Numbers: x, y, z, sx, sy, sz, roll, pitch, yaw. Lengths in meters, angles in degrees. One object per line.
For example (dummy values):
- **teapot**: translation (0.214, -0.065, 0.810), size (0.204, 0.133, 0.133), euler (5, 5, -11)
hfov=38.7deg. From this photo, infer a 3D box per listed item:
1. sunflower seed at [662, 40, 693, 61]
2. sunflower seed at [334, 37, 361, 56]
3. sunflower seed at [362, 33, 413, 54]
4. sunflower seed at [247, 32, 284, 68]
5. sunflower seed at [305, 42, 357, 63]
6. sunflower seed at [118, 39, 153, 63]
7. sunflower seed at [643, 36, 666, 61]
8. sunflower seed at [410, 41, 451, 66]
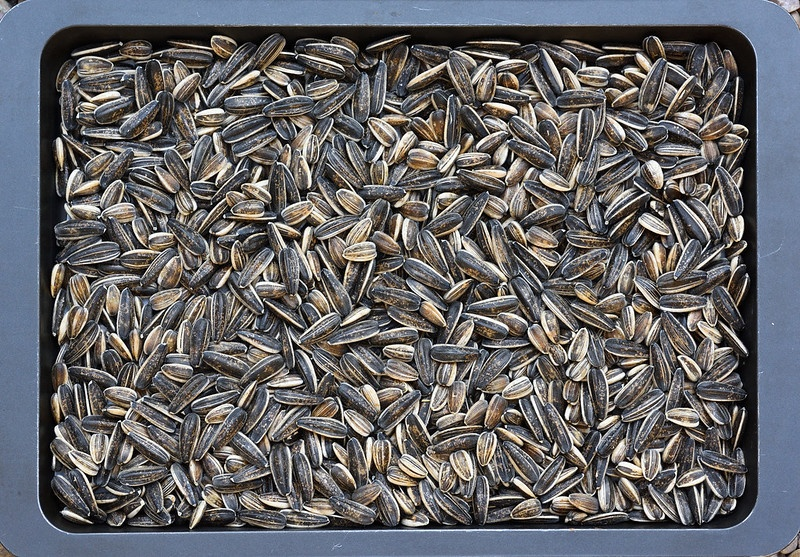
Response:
- **sunflower seed**: translation (0.391, -0.319, 1.593), size (0.042, 0.012, 0.024), euler (6, 91, -5)
- **sunflower seed**: translation (-0.071, -0.322, 1.586), size (0.031, 0.008, 0.022), euler (31, 74, -19)
- **sunflower seed**: translation (-0.017, -0.329, 1.610), size (0.084, 0.025, 0.023), euler (-13, 117, -2)
- **sunflower seed**: translation (-0.184, -0.315, 1.583), size (0.030, 0.015, 0.059), euler (40, 95, -6)
- **sunflower seed**: translation (-0.094, -0.314, 1.582), size (0.083, 0.023, 0.025), euler (9, 93, 0)
- **sunflower seed**: translation (-0.366, -0.316, 1.587), size (0.036, 0.013, 0.027), euler (-1, 96, -3)
- **sunflower seed**: translation (0.356, -0.322, 1.588), size (0.024, 0.010, 0.035), euler (-27, 106, 14)
- **sunflower seed**: translation (0.047, -0.312, 1.585), size (0.046, 0.013, 0.028), euler (9, 87, -6)
